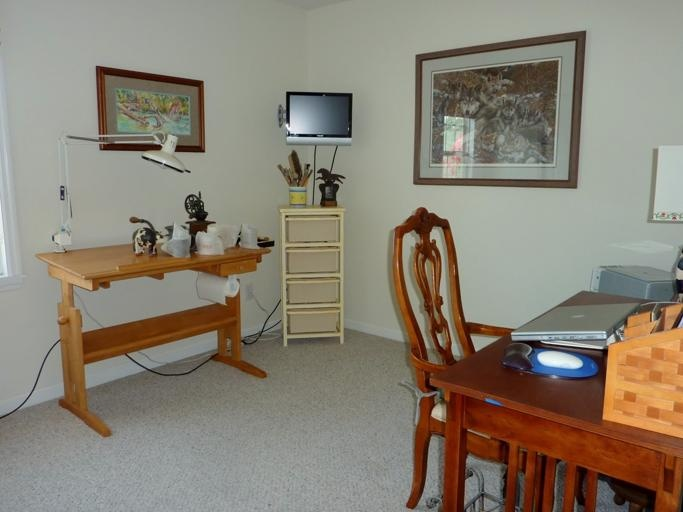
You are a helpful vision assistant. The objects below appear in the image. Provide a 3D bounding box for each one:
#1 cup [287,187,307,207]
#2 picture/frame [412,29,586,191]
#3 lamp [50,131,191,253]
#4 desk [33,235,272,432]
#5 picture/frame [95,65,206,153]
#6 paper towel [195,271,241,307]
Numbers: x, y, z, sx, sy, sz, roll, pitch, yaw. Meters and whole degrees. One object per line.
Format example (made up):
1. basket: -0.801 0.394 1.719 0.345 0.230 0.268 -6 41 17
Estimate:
1. cup: -0.342 -0.472 4.245 0.140 0.154 0.146 0 6 0
2. picture/frame: 1.159 -1.051 3.779 1.167 1.007 0.049 6 13 34
3. lamp: -1.440 -0.394 3.350 0.728 0.731 0.698 -8 16 -29
4. desk: -1.206 0.441 3.583 0.693 0.962 1.310 11 14 39
5. picture/frame: -1.344 -1.015 3.663 0.030 0.542 0.741 7 9 43
6. paper towel: -0.879 0.219 3.827 0.295 0.205 0.172 3 8 28
